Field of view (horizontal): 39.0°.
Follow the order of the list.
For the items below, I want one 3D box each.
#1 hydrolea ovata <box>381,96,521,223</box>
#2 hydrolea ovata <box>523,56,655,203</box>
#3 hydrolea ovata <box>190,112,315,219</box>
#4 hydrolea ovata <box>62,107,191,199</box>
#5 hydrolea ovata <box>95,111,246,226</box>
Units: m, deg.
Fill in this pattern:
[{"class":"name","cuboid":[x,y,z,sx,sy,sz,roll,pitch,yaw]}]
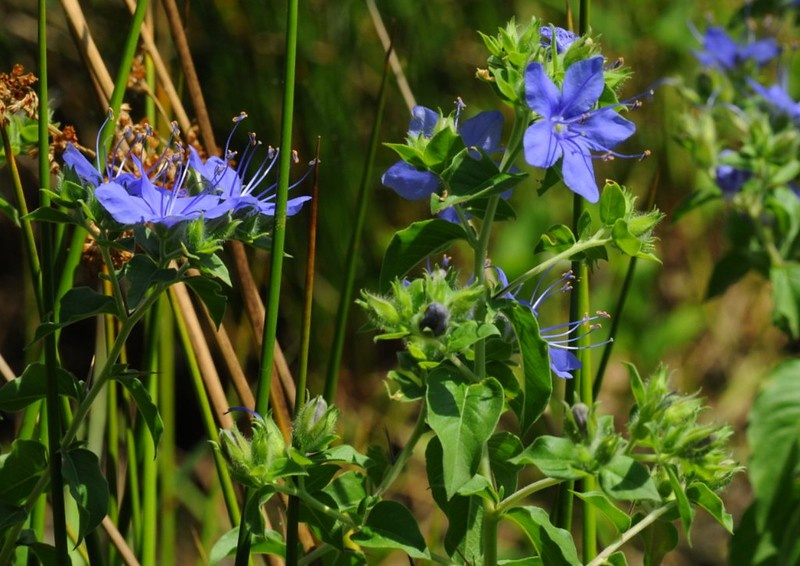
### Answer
[{"class":"hydrolea ovata","cuboid":[0.161,-0.357,3.366,0.369,0.347,0.227,20,29,13]},{"class":"hydrolea ovata","cuboid":[0.503,-0.464,3.232,0.283,0.461,0.372,2,8,-7]},{"class":"hydrolea ovata","cuboid":[-0.432,-0.288,3.435,0.327,0.484,0.407,-1,4,-25]},{"class":"hydrolea ovata","cuboid":[-0.807,-0.329,3.332,0.255,0.380,0.310,-3,6,-15]},{"class":"hydrolea ovata","cuboid":[-0.662,-0.266,3.261,0.403,0.211,0.283,7,30,-12]}]
